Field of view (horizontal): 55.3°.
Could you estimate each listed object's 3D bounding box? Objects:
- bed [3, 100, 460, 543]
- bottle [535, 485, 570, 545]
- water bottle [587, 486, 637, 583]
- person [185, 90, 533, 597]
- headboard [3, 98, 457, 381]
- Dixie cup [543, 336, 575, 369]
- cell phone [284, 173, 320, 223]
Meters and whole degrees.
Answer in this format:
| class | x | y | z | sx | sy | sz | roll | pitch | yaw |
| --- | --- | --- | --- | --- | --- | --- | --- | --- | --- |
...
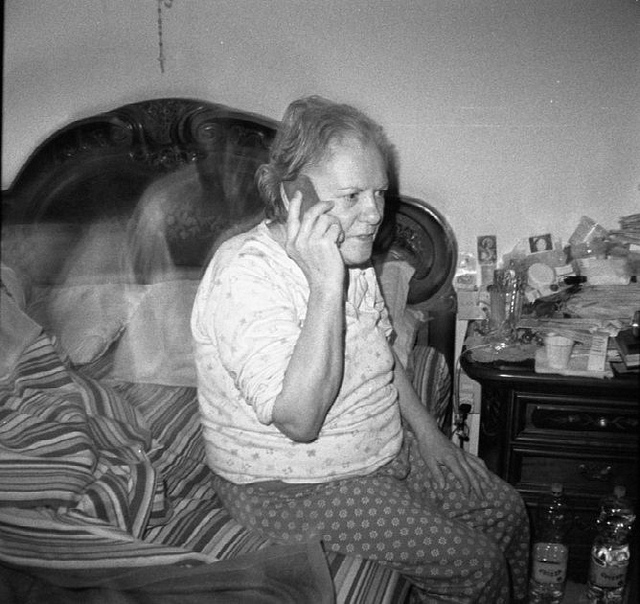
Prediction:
| class | x | y | z | sx | sy | sz | roll | pitch | yaw |
| --- | --- | --- | --- | --- | --- | --- | --- | --- | --- |
| bed | -0.268 | 0.014 | 1.585 | 1.193 | 0.752 | 1.110 | 3 | 18 | 9 |
| bottle | 0.570 | 0.526 | 1.501 | 0.076 | 0.122 | 0.078 | 1 | 0 | 0 |
| water bottle | 0.706 | 0.573 | 1.481 | 0.103 | 0.184 | 0.076 | 1 | 0 | 11 |
| person | 0.088 | 0.113 | 1.195 | 0.644 | 0.869 | 0.340 | 2 | 0 | -26 |
| headboard | -0.282 | -0.162 | 1.403 | 0.903 | 0.519 | 0.019 | 6 | 21 | 8 |
| Dixie cup | 0.559 | 0.121 | 1.438 | 0.084 | 0.076 | 0.077 | 0 | 1 | 0 |
| cell phone | -0.048 | -0.192 | 1.114 | 0.049 | 0.065 | 0.088 | -21 | 40 | 10 |
